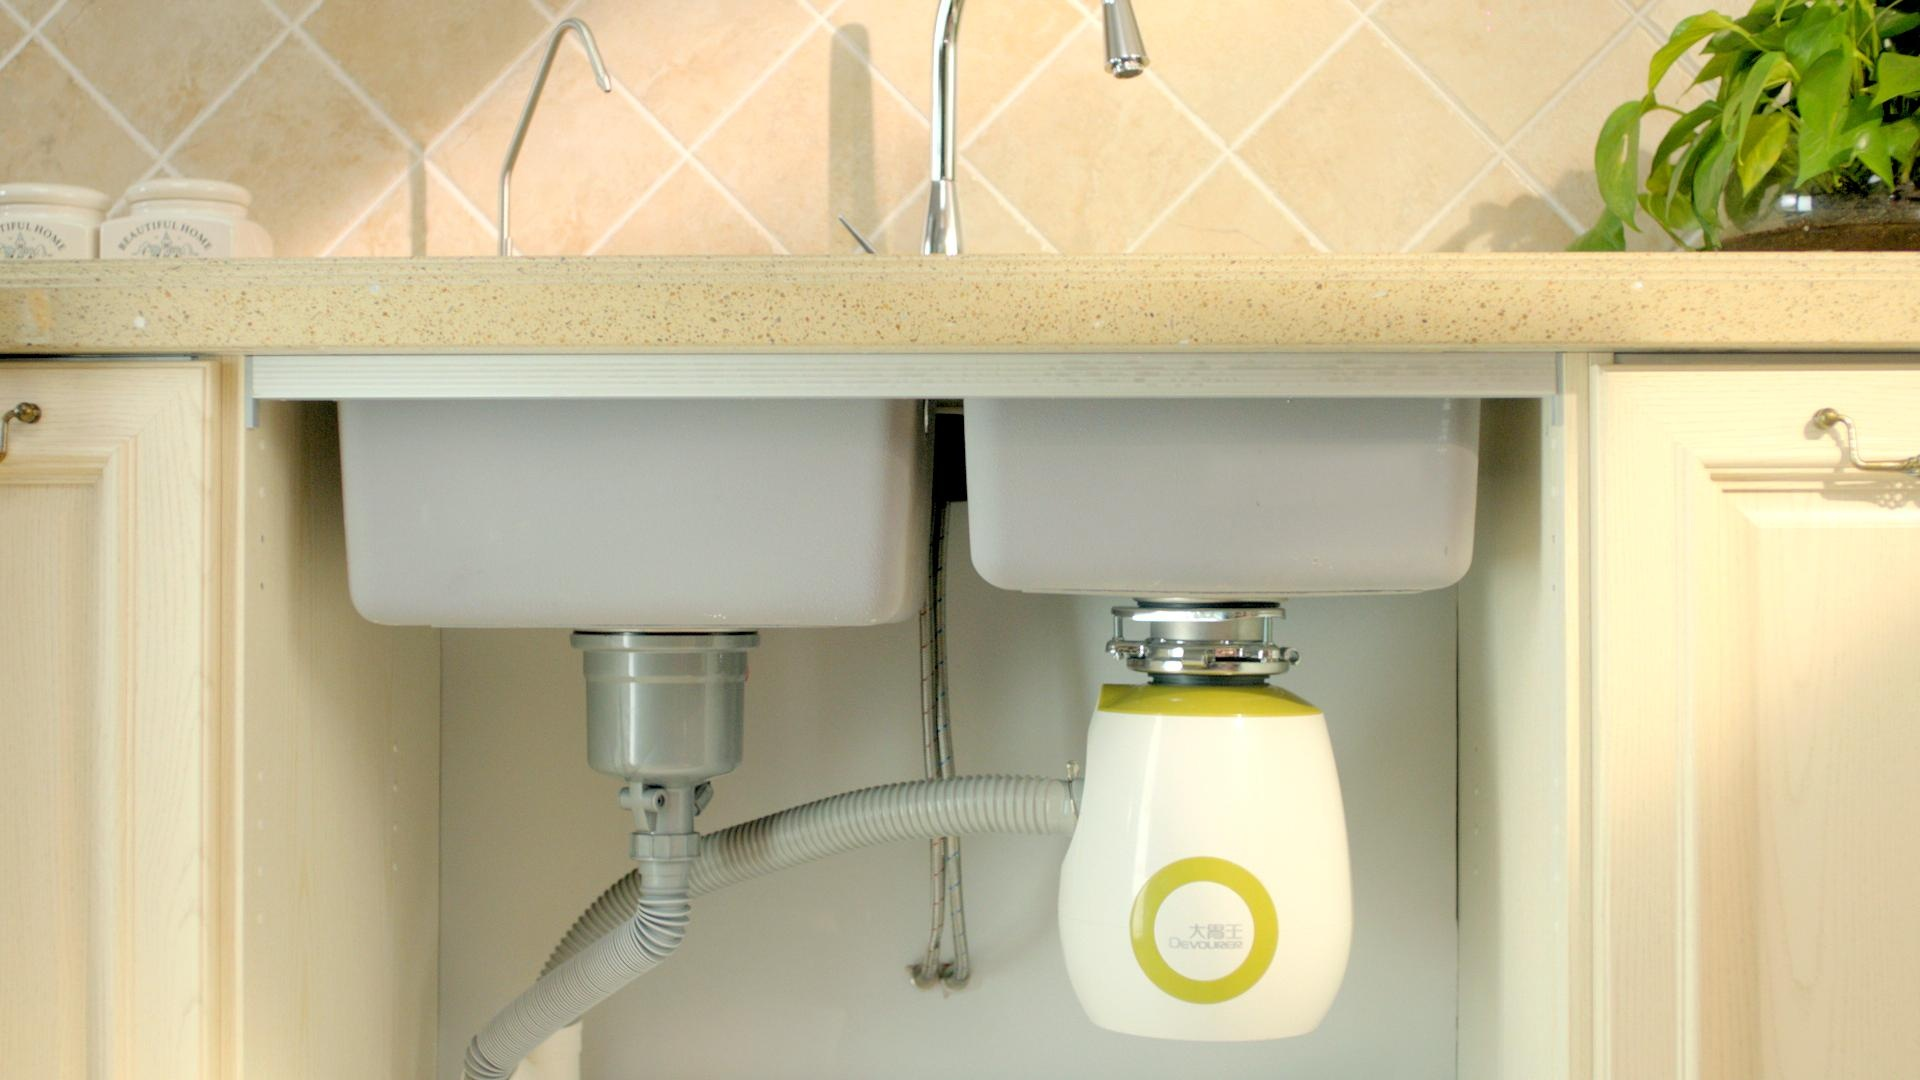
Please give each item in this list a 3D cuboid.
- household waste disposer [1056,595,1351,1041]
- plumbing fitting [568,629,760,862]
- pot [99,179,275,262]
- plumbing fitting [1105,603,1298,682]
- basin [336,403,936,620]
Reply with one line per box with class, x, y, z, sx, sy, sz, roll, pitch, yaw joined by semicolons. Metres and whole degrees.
household waste disposer;0.265;0.297;2.506;0.311;0.427;0.256;-2;-36;3
plumbing fitting;-0.310;0.248;2.621;0.278;0.275;0.253;-2;-14;9
pot;-0.907;-0.357;2.724;0.202;0.101;0.207;2;7;0
plumbing fitting;0.277;0.097;2.545;0.139;0.053;0.119;-2;2;-37
basin;-0.353;-0.034;2.448;0.530;0.215;0.266;1;4;4
